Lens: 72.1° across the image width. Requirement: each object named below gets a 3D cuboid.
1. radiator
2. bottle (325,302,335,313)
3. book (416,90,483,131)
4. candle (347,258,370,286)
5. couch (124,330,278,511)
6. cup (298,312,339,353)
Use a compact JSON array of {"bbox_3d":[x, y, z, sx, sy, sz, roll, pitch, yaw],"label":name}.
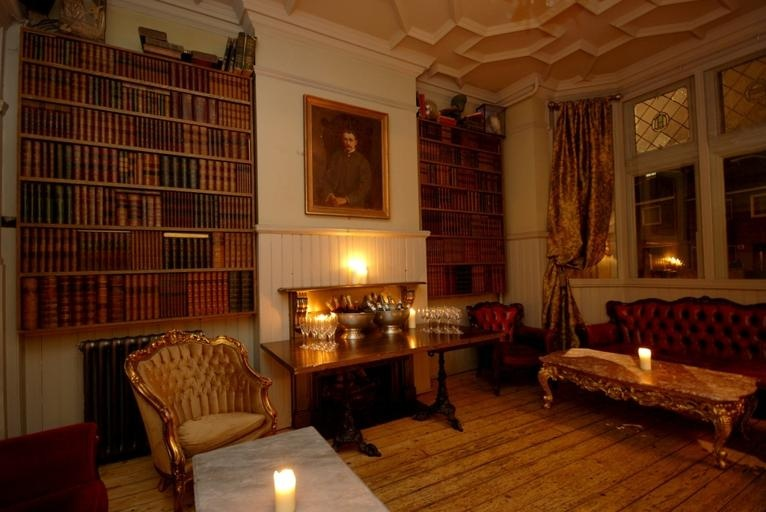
[{"bbox_3d":[-2.407,1.435,5.301,1.330,1.424,0.184,-1,-3,-32],"label":"radiator"},{"bbox_3d":[-0.634,0.631,6.437,0.096,0.116,0.193,-5,-1,-20],"label":"bottle"},{"bbox_3d":[0.964,-2.096,7.583,0.936,0.442,0.518,12,-10,-33],"label":"book"},{"bbox_3d":[-0.306,0.190,6.613,0.312,0.389,0.266,-6,5,-36],"label":"candle"},{"bbox_3d":[-1.781,1.437,5.910,1.544,2.077,1.674,-12,-9,43],"label":"couch"},{"bbox_3d":[-0.724,0.856,5.943,0.400,0.400,0.360,2,-4,-24],"label":"cup"}]
